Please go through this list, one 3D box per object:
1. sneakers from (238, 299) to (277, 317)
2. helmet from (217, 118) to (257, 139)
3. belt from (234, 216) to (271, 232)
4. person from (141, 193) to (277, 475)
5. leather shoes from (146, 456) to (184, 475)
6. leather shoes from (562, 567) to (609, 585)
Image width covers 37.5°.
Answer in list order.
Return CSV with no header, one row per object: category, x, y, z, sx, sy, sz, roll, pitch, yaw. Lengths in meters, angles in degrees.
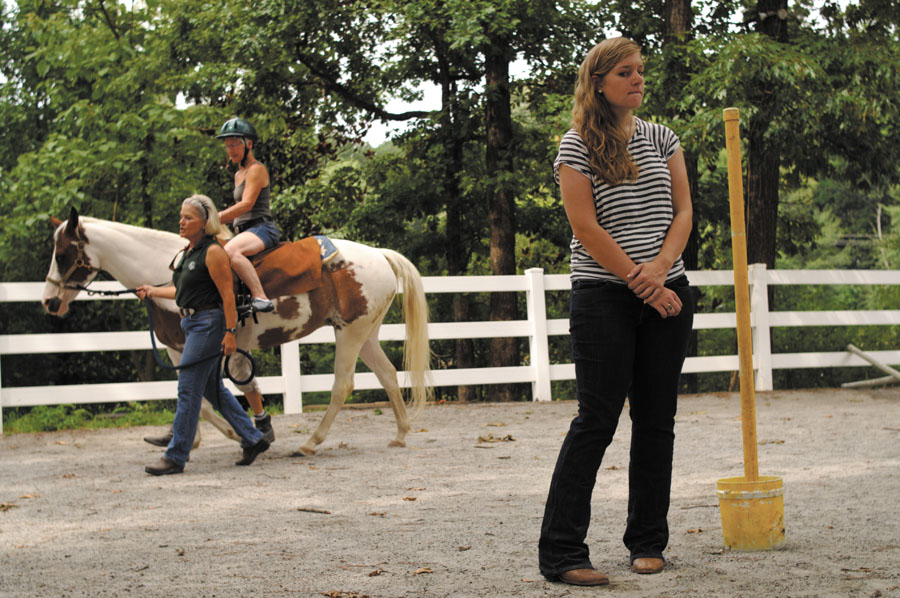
sneakers,-2.679,0.140,18.347,0.566,0.237,0.203,-8,-5,26
helmet,-2.956,-2.397,18.499,0.320,0.210,0.417,-8,-13,41
belt,-2.755,-1.010,18.618,0.342,0.118,0.264,-7,0,2
person,-3.365,0.471,18.027,1.438,3.779,0.625,-3,1,-9
leather shoes,-3.862,2.248,17.834,0.503,0.227,0.202,7,-5,-9
leather shoes,1.536,3.166,15.033,0.365,0.123,0.229,-6,-7,19
